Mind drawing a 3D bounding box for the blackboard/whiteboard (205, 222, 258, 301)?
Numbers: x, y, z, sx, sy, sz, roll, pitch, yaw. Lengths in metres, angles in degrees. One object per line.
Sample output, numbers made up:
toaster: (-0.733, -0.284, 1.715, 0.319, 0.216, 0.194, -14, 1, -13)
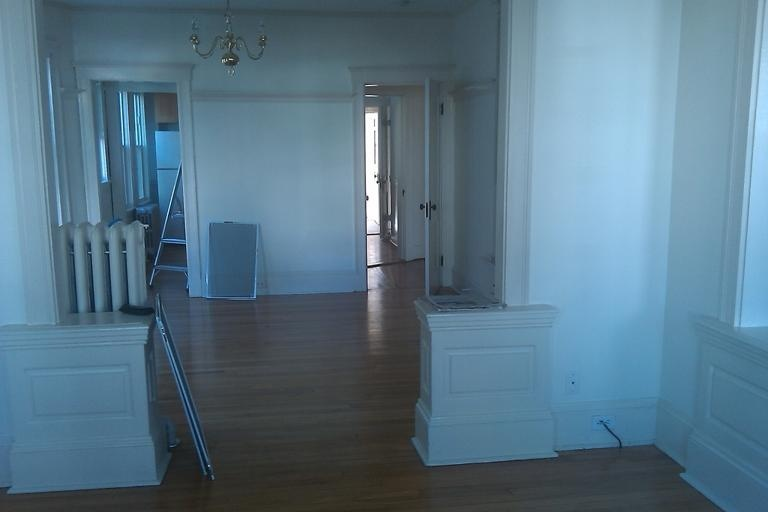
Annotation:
blackboard/whiteboard: (-2.071, 0.063, 7.854, 0.736, 1.035, 0.217, -2, 11, 6)

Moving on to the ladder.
ladder: (-3.702, -0.660, 9.806, 0.655, 1.765, 4.103, -7, 11, -19)

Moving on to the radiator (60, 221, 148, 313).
radiator: (-2.066, 0.091, 4.234, 0.634, 0.705, 0.351, -1, 11, -7)
